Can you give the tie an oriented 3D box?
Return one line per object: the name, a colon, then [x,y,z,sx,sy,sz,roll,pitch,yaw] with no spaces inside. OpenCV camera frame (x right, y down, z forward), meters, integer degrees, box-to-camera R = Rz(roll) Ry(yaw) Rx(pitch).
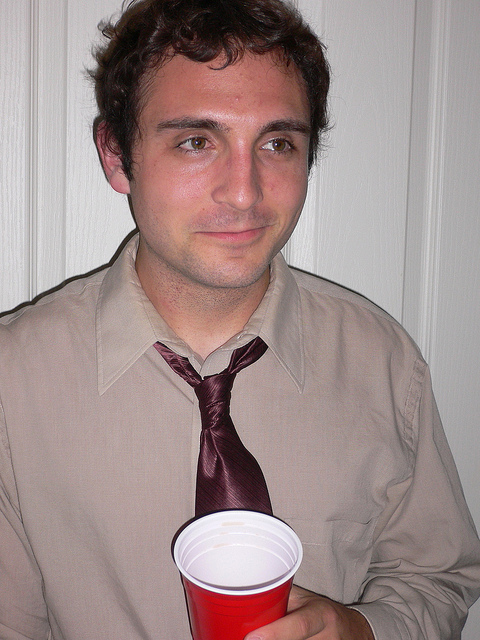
tie: [-0.037,0.171,1.027,0.202,0.265,0.251,-4,4,-4]
